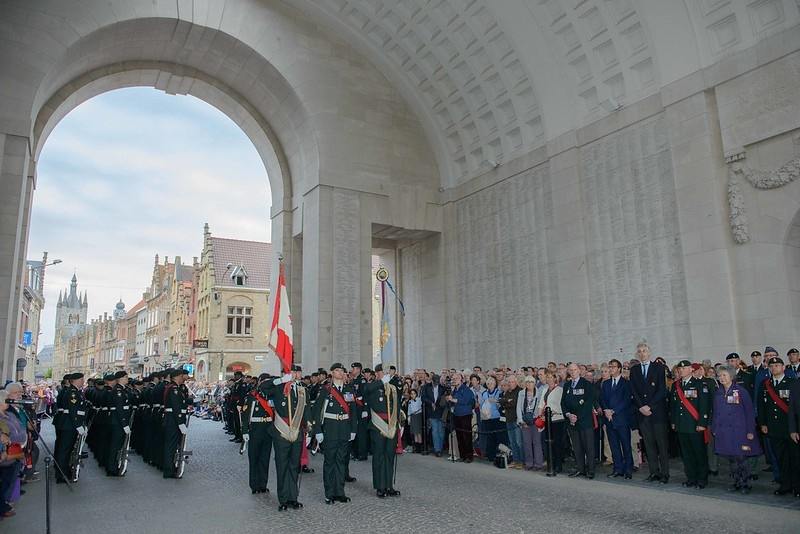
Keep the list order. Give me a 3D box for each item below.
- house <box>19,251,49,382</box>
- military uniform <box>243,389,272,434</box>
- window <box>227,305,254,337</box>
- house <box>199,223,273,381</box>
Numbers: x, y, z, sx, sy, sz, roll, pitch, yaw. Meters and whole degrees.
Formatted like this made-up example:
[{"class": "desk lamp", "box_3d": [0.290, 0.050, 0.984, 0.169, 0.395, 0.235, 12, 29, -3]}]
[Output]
[{"class": "house", "box_3d": [-35.006, 4.369, 59.621, 3.204, 11.197, 2.921, 6, -36, -35]}, {"class": "military uniform", "box_3d": [-3.372, 3.391, 14.203, 1.066, 1.020, 0.382, -4, -14, 25]}, {"class": "window", "box_3d": [-12.317, 4.197, 46.353, 2.205, 2.490, 0.404, 7, -18, -32]}, {"class": "house", "box_3d": [-13.486, 3.142, 48.323, 4.853, 11.018, 6.309, -1, -6, 43]}]
